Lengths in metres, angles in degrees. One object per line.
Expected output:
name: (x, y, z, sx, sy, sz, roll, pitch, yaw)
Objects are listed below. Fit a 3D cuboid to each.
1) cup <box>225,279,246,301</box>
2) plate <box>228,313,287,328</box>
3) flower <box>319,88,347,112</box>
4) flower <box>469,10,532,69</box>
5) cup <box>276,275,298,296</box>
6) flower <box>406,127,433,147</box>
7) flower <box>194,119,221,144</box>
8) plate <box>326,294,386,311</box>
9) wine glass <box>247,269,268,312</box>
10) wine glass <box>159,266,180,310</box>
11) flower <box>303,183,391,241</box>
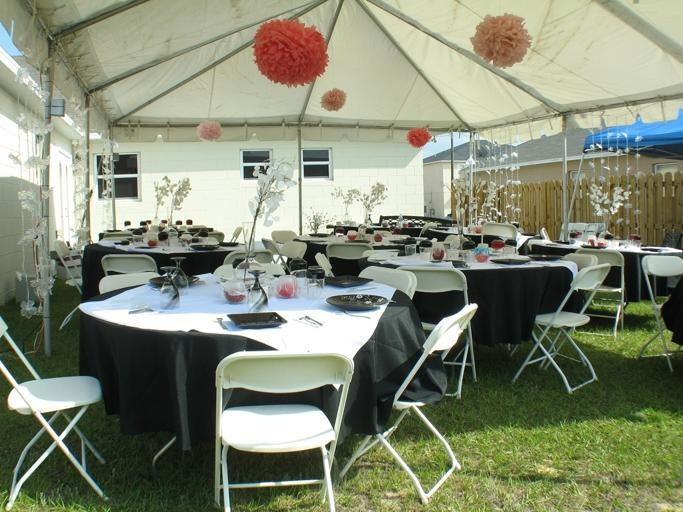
cup: (-0.666, 0.224, 3.540, 0.120, 0.129, 0.125, 0, 12, 0)
plate: (-0.486, 0.370, 3.251, 0.299, 0.063, 0.213, -2, 6, -25)
flower: (-0.082, -2.182, 7.943, 0.305, 0.223, 0.360, -7, 10, 8)
flower: (1.519, -2.048, 5.285, 0.492, 0.531, 0.244, 4, 9, 14)
cup: (-0.349, 0.191, 3.675, 0.117, 0.127, 0.125, -1, 4, 0)
flower: (1.320, -2.003, 9.342, 0.364, 0.331, 0.437, 1, 5, 13)
flower: (-2.015, -1.932, 8.717, 0.327, 0.365, 0.140, -2, 10, -4)
plate: (0.099, 0.292, 3.506, 0.316, 0.073, 0.304, -5, 7, -44)
wine glass: (-0.512, 0.206, 3.442, 0.100, 0.227, 0.147, -1, 5, -13)
wine glass: (-1.057, 0.191, 3.467, 0.107, 0.232, 0.175, -2, 6, -17)
flower: (0.182, -1.035, 11.910, 2.617, 1.254, 0.989, -2, 1, 33)
